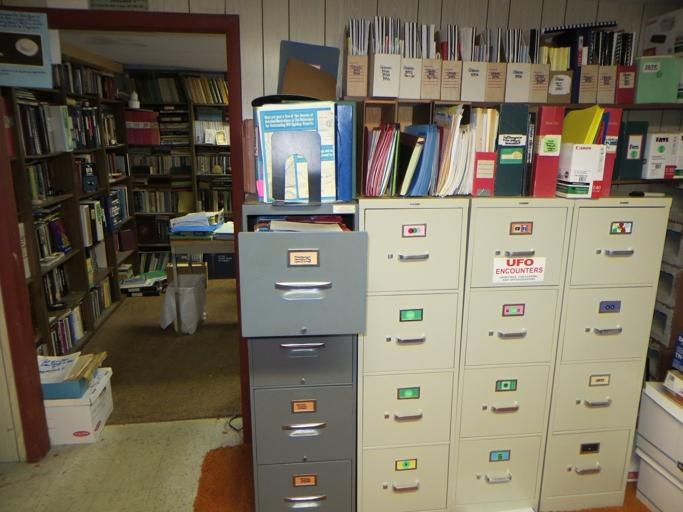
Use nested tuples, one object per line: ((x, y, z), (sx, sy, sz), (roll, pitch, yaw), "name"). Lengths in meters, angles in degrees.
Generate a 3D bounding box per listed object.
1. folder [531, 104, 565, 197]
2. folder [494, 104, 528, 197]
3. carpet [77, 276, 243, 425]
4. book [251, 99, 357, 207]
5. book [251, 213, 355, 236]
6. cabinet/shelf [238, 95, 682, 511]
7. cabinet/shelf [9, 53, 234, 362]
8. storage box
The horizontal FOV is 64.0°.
((1.129, -0.574, 3.003), (0.150, 0.445, 0.438), (7, 7, 9), "folder")
((0.920, -0.592, 2.990), (0.171, 0.506, 0.485), (3, 1, 11), "folder")
((-1.490, 0.920, 4.744), (1.298, 0.269, 1.936), (-9, 14, -27), "carpet")
((-0.225, -0.541, 3.043), (0.556, 0.550, 0.537), (-1, 8, -9), "book")
((-0.216, -0.163, 2.910), (0.499, 0.059, 0.320), (-3, 13, -4), "book")
((0.622, 0.303, 3.057), (2.253, 2.842, 0.903), (2, 8, -6), "cabinet/shelf")
((-2.125, -0.500, 5.286), (1.156, 2.354, 2.732), (2, 12, 10), "cabinet/shelf")
((-1.839, 1.069, 3.872), (0.394, 0.253, 0.400), (-2, 13, -7), "storage box")
